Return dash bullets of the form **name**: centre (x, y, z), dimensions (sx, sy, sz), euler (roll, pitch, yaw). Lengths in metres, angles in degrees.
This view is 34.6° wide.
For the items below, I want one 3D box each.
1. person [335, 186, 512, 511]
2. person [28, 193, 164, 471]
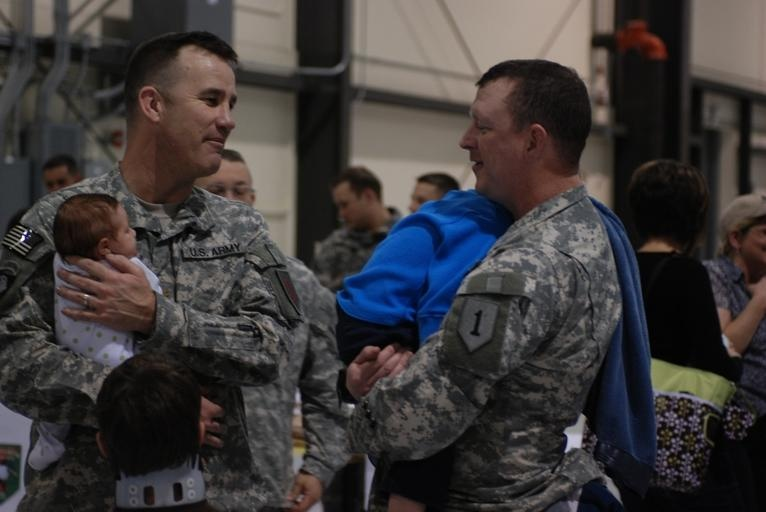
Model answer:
- **person**: centre (0.139, 0.386, 5.885), dimensions (0.655, 1.334, 0.994), euler (24, -26, 11)
- **person**: centre (-1.438, 0.392, 6.072), dimensions (0.678, 1.493, 0.487), euler (-14, 39, -40)
